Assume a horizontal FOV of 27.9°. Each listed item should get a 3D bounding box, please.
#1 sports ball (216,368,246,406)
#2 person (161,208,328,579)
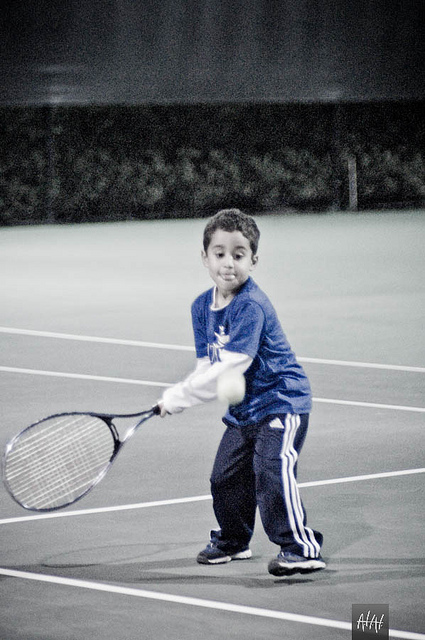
[{"bbox_3d":[0.050,0.186,2.383,0.100,0.105,0.095,4,-16,1],"label":"sports ball"},{"bbox_3d":[0.116,0.217,2.586,0.499,1.078,0.313,3,11,21],"label":"person"}]
